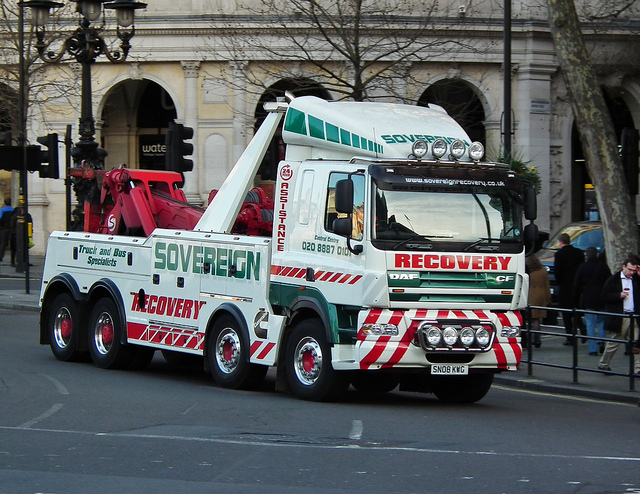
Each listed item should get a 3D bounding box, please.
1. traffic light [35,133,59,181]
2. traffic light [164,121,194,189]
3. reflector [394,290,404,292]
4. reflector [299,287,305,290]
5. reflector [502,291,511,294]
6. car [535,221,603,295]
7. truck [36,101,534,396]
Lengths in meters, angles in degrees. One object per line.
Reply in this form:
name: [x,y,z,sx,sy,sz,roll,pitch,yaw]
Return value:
traffic light: [-6.485,-2.257,26.654,0.415,0.231,1.009,-10,43,-7]
traffic light: [-2.653,-1.776,21.363,0.494,1.115,0.230,-2,34,-10]
reflector: [1.072,0.619,15.003,0.122,0.030,0.017,-7,4,-18]
reflector: [-0.239,0.617,15.787,0.048,0.020,0.063,2,3,11]
reflector: [2.612,0.668,15.541,0.133,0.050,0.021,-8,4,-32]
car: [6.046,0.087,27.438,2.402,1.241,1.328,2,-3,-38]
truck: [-1.102,-0.133,19.273,3.738,4.345,10.270,1,1,-36]
